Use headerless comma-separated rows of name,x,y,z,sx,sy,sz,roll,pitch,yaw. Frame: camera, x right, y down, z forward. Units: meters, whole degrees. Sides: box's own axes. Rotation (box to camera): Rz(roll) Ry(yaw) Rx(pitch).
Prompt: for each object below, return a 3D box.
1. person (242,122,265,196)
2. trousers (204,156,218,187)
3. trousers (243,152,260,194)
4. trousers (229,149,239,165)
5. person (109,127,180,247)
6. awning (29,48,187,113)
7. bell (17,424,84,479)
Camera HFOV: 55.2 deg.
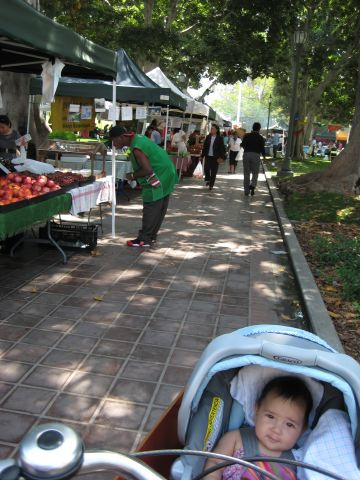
person,2.677,-2.993,12.894,0.786,2.657,0.823,7,16,10
trousers,1.226,-2.811,14.048,0.455,1.222,0.764,0,16,-15
trousers,2.592,-2.490,12.841,0.604,1.542,0.456,6,16,6
trousers,3.151,-4.885,20.339,0.437,0.829,0.570,5,15,3
person,-0.676,-0.962,6.602,1.207,2.227,0.488,3,16,-5
awning,-1.765,-5.197,10.717,4.077,1.213,3.719,-6,29,-18
bell,-0.136,0.223,0.370,0.059,0.043,0.064,5,15,3
